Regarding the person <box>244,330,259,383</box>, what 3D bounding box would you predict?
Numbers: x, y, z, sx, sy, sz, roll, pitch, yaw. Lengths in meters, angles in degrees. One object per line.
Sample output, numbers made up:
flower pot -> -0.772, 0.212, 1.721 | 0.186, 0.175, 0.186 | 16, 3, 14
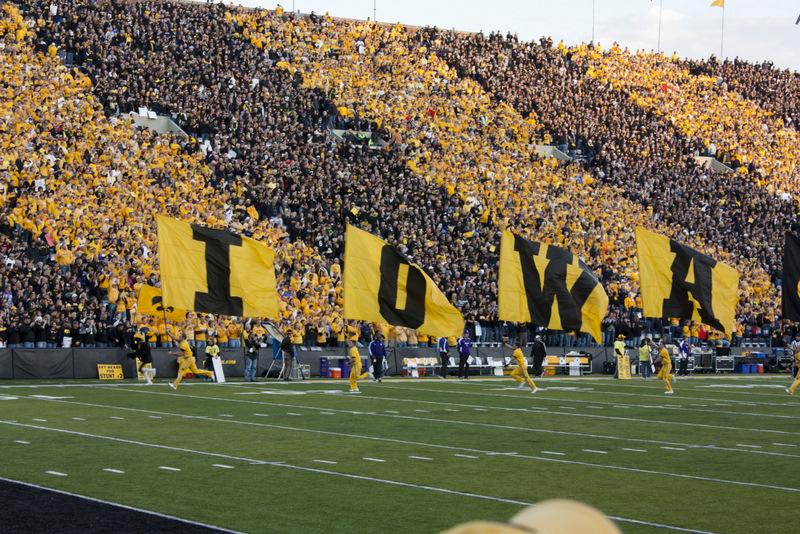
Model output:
person -> -5.526, 3.357, 54.318 | 0.497, 1.855, 1.145 | 1, -7, -6

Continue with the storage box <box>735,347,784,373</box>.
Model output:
storage box -> 17.132, 4.439, 68.698 | 3.015, 1.160, 1.013 | 4, -8, -36

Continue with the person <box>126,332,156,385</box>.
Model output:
person -> -9.328, 3.368, 52.447 | 0.960, 1.878, 0.809 | -3, 6, -14

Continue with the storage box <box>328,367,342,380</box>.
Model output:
storage box -> -2.502, 4.221, 56.881 | 0.441, 0.413, 0.426 | 0, 1, -26

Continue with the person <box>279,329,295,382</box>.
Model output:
person -> -4.224, 3.490, 54.881 | 0.559, 1.669, 1.244 | 0, -7, -4
